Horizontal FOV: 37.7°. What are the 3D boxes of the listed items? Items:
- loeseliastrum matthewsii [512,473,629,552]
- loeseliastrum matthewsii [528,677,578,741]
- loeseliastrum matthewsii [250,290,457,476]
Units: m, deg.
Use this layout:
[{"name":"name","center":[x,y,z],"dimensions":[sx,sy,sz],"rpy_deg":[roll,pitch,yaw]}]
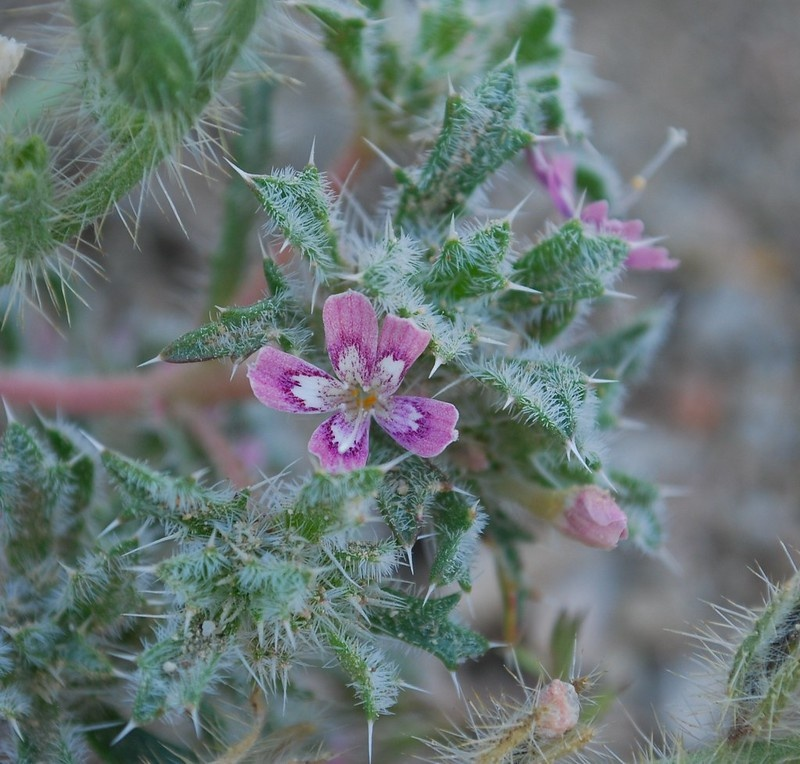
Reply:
[{"name":"loeseliastrum matthewsii","center":[0.399,0.297,2.661],"dimensions":[0.252,0.118,0.118],"rpy_deg":[16,62,42]},{"name":"loeseliastrum matthewsii","center":[0.336,0.702,2.541],"dimensions":[0.066,0.095,0.126],"rpy_deg":[23,70,-43]},{"name":"loeseliastrum matthewsii","center":[-0.101,0.023,2.399],"dimensions":[0.372,0.153,0.368],"rpy_deg":[-21,79,-9]}]
